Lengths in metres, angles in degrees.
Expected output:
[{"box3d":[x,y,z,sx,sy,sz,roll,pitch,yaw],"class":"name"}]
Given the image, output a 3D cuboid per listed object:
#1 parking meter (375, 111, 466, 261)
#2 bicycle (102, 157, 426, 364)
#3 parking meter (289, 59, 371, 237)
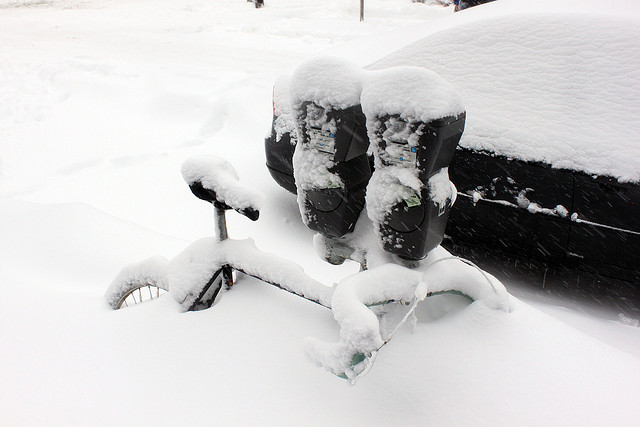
[{"box3d":[0.582,-0.142,2.879,0.468,0.822,0.379,-2,38,0],"class":"parking meter"},{"box3d":[-0.311,0.316,3.172,1.672,0.716,1.066,14,10,23],"class":"bicycle"},{"box3d":[0.064,-0.384,3.067,0.420,0.986,0.463,-4,38,-1],"class":"parking meter"}]
